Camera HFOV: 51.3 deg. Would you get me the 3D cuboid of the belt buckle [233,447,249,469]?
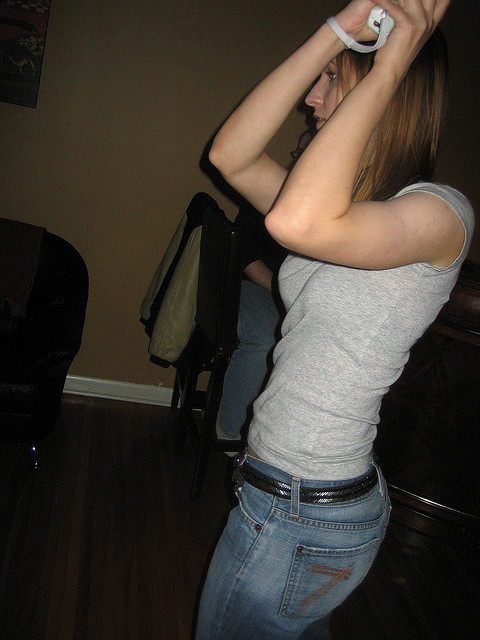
[{"bbox_3d":[0.008,0.224,0.819,0.013,0.025,0.036,40,60,-23],"label":"belt buckle"}]
